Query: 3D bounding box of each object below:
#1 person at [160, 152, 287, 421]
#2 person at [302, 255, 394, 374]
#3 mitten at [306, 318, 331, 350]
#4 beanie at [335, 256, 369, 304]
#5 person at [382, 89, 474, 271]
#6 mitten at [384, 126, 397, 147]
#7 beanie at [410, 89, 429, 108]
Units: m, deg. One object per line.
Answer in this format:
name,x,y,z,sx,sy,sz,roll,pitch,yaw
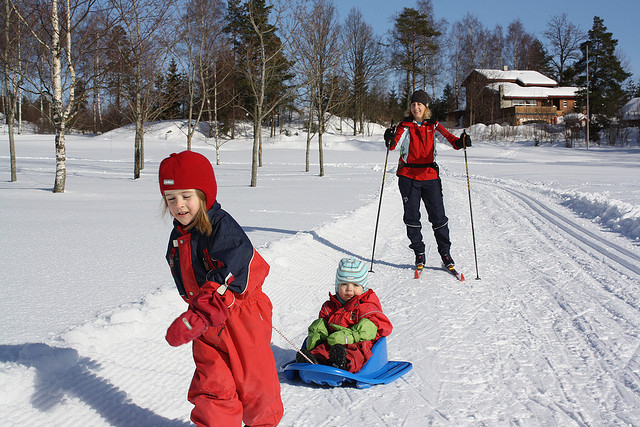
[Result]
person,-0.866,0.666,4.705,0.984,2.413,0.606,-3,7,-13
person,0.278,1.109,5.836,0.943,1.219,1.132,-3,-3,21
mitten,-0.034,1.302,5.771,0.249,0.324,0.117,26,-1,39
beanie,0.341,0.728,5.861,0.381,0.553,0.475,-1,6,7
person,1.607,-0.515,8.310,1.171,2.796,0.604,-1,7,6
mitten,1.067,-1.191,8.206,0.104,0.298,0.212,11,15,44
beanie,1.566,-1.814,8.330,0.196,0.233,0.275,3,11,24
